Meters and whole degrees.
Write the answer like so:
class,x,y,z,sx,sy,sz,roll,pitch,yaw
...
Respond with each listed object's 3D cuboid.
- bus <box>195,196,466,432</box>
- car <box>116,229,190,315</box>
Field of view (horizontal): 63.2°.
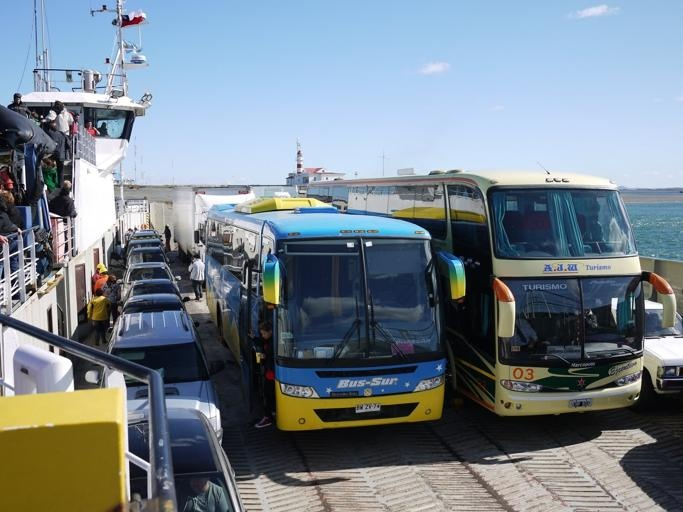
class,x,y,z,sx,sy,sz,roll,pitch,yaw
bus,-0.626,1.188,11.577,3.228,4.177,5.044,-4,9,-23
car,-6.161,0.542,18.141,2.002,1.572,4.323,-3,3,-15
